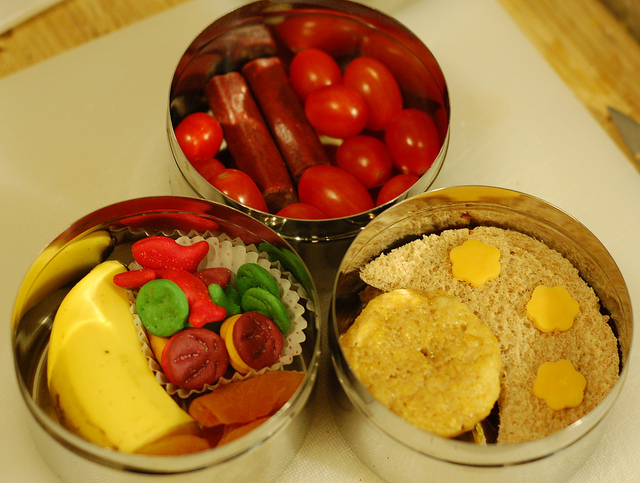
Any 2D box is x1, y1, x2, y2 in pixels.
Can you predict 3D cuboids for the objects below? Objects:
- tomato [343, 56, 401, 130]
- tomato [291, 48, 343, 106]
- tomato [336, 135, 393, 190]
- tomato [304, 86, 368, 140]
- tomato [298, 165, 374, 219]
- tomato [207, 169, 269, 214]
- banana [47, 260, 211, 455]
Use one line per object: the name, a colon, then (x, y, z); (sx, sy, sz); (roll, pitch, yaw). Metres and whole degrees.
tomato: (0.121, -0.334, 1.312); (0.107, 0.121, 0.169); (-12, 94, 12)
tomato: (-0.013, -0.379, 1.321); (0.093, 0.096, 0.131); (-29, 88, 8)
tomato: (0.097, -0.175, 1.248); (0.108, 0.112, 0.143); (-7, 85, 37)
tomato: (0.034, -0.285, 1.269); (0.115, 0.095, 0.100); (14, 100, 28)
tomato: (0.029, -0.100, 1.161); (0.154, 0.057, 0.105); (30, 65, 25)
tomato: (-0.159, -0.104, 1.117); (0.076, 0.080, 0.109); (-34, 88, 17)
banana: (-0.384, 0.224, 1.032); (0.447, 0.209, 0.168); (48, 135, 46)
